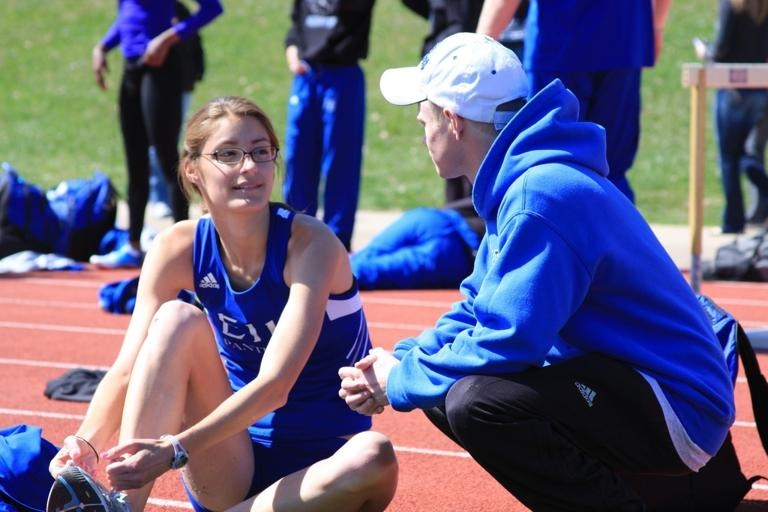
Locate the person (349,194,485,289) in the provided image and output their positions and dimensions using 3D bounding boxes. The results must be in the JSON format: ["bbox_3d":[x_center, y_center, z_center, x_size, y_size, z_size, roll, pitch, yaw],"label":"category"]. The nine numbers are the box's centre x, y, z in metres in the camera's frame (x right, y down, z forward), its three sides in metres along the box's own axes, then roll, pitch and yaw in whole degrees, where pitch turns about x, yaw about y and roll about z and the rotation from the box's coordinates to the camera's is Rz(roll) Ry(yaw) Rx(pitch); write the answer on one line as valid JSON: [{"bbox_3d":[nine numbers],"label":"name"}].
[{"bbox_3d":[0.250,-0.017,7.486,0.896,0.378,0.556,-21,26,-18],"label":"person"}]

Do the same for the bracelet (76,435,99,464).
[{"bbox_3d":[-1.236,0.803,3.991,0.097,0.113,0.080,-3,10,-20],"label":"bracelet"}]

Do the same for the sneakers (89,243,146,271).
[{"bbox_3d":[-2.247,0.008,8.147,0.589,0.271,0.210,1,0,11],"label":"sneakers"}]
